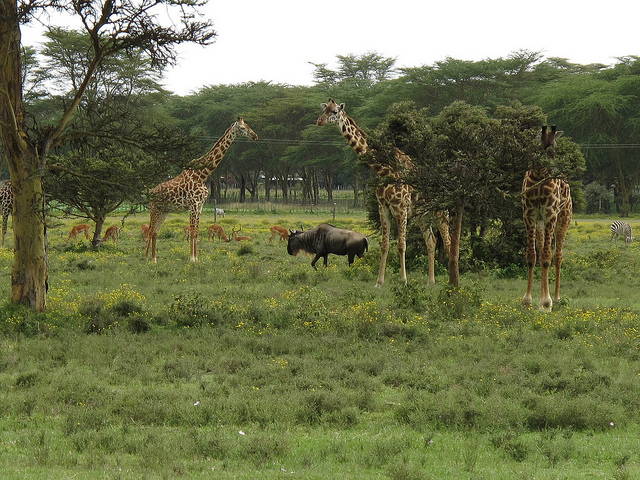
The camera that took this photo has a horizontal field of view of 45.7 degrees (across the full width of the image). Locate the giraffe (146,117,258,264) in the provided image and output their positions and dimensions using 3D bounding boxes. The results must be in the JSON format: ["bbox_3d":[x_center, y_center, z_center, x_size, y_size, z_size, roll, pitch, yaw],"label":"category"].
[{"bbox_3d":[-4.739,-1.921,28.908,3.379,5.124,3.773,2,1,-14],"label":"giraffe"}]

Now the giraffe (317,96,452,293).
[{"bbox_3d":[2.381,-1.398,25.303,3.984,6.078,7.515,3,1,8],"label":"giraffe"}]

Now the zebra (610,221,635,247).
[{"bbox_3d":[14.010,-0.332,35.266,0.960,1.234,2.714,3,1,22],"label":"zebra"}]

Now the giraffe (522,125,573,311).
[{"bbox_3d":[6.637,-0.732,22.260,1.300,5.558,2.482,2,1,18],"label":"giraffe"}]
